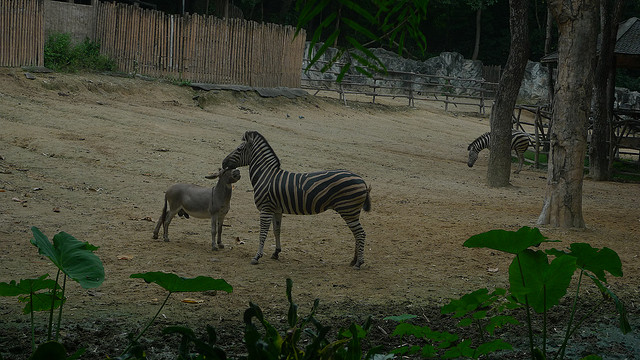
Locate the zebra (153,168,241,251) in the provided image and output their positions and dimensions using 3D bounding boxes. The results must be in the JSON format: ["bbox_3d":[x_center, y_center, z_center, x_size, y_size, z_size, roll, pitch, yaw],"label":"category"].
[{"bbox_3d":[-3.128,0.610,20.090,2.951,2.508,1.344,1,1,1],"label":"zebra"}]

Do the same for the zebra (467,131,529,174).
[{"bbox_3d":[6.614,-1.019,29.373,2.583,1.606,0.744,-2,-6,-18],"label":"zebra"}]
